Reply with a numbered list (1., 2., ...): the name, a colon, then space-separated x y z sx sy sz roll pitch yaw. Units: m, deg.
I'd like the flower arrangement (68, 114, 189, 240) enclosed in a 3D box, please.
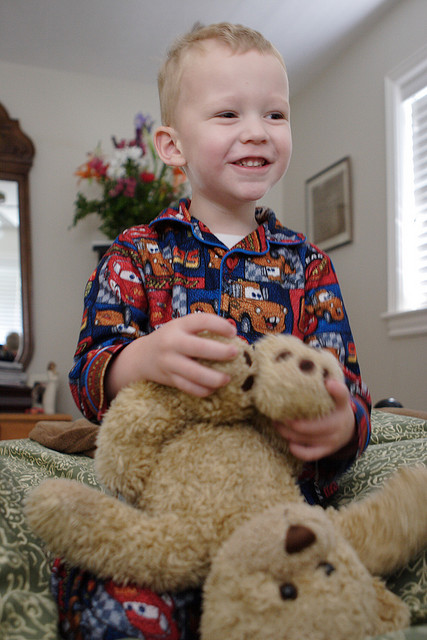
1. flower arrangement: -0.360 -0.609 2.665 0.555 0.632 0.614 -3 4 4
